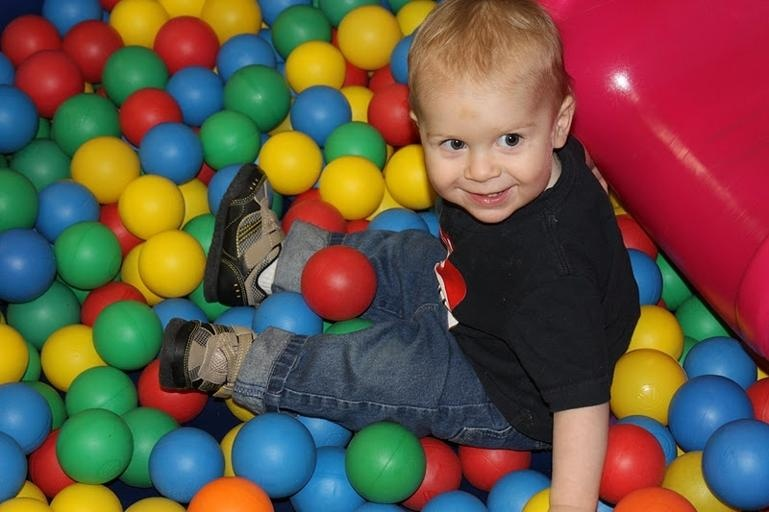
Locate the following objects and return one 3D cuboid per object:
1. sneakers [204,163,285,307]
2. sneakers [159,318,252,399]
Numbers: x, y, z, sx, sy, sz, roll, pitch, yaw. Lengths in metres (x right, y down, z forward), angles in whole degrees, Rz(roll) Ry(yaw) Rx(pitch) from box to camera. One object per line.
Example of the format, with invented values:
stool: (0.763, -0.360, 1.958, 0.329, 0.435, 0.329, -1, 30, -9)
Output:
sneakers: (-0.551, -0.047, 2.967, 0.265, 0.221, 0.687, 7, 83, 29)
sneakers: (-0.632, 0.378, 2.641, 0.182, 0.430, 0.268, 3, 84, 21)
